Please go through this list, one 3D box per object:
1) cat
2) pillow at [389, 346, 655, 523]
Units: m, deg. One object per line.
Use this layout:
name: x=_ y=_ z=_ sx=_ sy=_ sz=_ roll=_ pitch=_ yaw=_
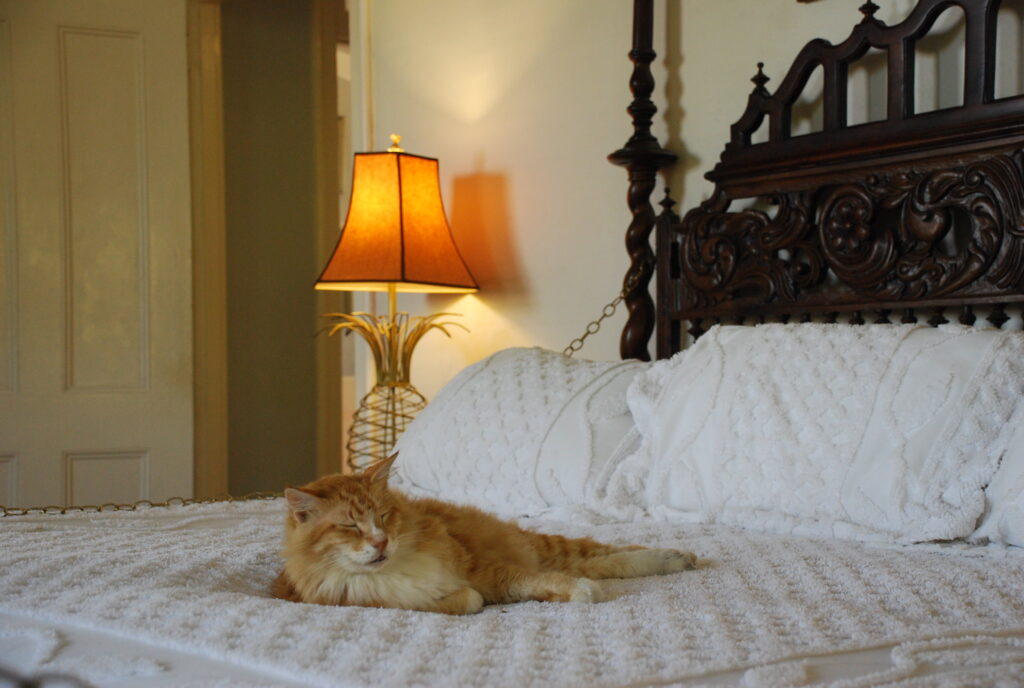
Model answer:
cat: x=-0.125 y=0.495 z=2.648 sx=0.456 sy=0.277 sz=0.634 roll=-13 pitch=-16 yaw=37
pillow: x=0.062 y=0.233 z=3.584 sx=0.807 sy=0.280 sz=0.762 roll=-1 pitch=24 yaw=34
